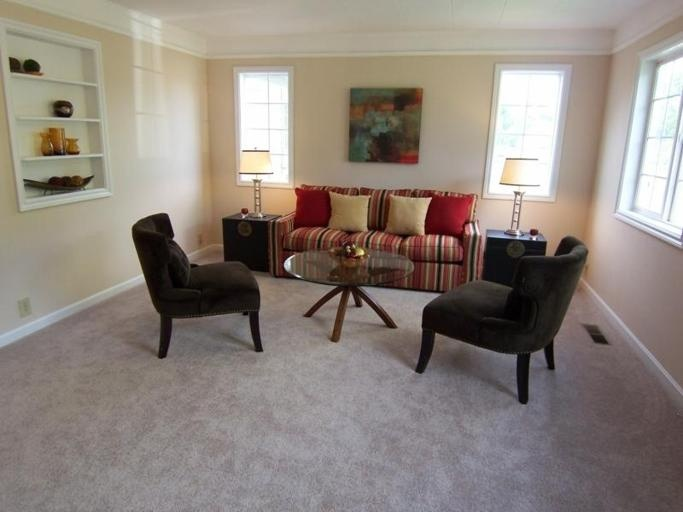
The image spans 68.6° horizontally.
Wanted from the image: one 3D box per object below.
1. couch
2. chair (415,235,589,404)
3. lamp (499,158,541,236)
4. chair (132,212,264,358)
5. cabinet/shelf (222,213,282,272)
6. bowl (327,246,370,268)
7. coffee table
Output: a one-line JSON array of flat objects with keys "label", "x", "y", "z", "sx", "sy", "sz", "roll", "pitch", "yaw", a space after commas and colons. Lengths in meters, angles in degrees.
[{"label": "couch", "x": 0.414, "y": -0.188, "z": 5.607, "sx": 2.097, "sy": 1.078, "sz": 0.916, "roll": 5, "pitch": 8, "yaw": 13}, {"label": "chair", "x": 1.189, "y": 0.361, "z": 3.858, "sx": 1.094, "sy": 1.072, "sz": 1.179, "roll": 3, "pitch": 16, "yaw": 9}, {"label": "lamp", "x": 1.861, "y": -0.628, "z": 5.279, "sx": 0.379, "sy": 0.821, "sz": 0.377, "roll": -15, "pitch": 22, "yaw": -41}, {"label": "chair", "x": -1.104, "y": 0.223, "z": 4.319, "sx": 1.097, "sy": 1.270, "sz": 1.018, "roll": -3, "pitch": 17, "yaw": -16}, {"label": "cabinet/shelf", "x": -1.141, "y": 0.012, "z": 5.802, "sx": 0.698, "sy": 0.705, "sz": 0.550, "roll": 3, "pitch": -19, "yaw": -36}, {"label": "bowl", "x": 0.080, "y": 0.012, "z": 4.414, "sx": 0.232, "sy": 0.091, "sz": 0.218, "roll": 0, "pitch": 13, "yaw": 0}, {"label": "coffee table", "x": 0.089, "y": 0.334, "z": 4.260, "sx": 0.950, "sy": 0.506, "sz": 0.985, "roll": -24, "pitch": -32, "yaw": 34}]
